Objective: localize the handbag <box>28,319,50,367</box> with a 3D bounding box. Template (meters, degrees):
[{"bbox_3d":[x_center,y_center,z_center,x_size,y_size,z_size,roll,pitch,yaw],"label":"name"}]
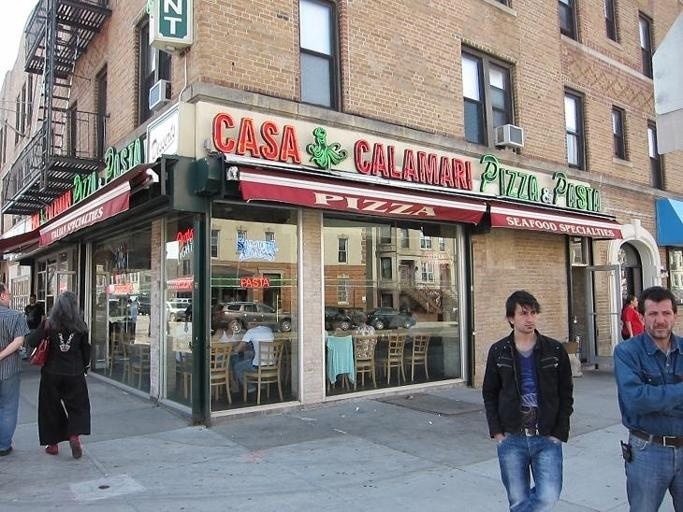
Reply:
[{"bbox_3d":[-4.238,1.236,8.724,0.234,0.662,0.442,1,3,14],"label":"handbag"}]

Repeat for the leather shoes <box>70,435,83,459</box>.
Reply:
[{"bbox_3d":[-3.734,2.672,8.787,0.139,0.345,0.169,-5,-8,4],"label":"leather shoes"}]

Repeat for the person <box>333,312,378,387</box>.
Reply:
[{"bbox_3d":[0.325,1.989,12.336,0.794,1.157,0.902,-7,-14,-8],"label":"person"}]

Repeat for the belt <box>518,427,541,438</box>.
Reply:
[{"bbox_3d":[1.857,1.742,6.190,0.115,0.076,0.155,1,-2,11],"label":"belt"}]

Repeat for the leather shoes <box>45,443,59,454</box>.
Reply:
[{"bbox_3d":[-4.110,2.727,8.866,0.205,0.190,0.117,-1,0,-2],"label":"leather shoes"}]

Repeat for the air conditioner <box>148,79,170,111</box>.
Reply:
[{"bbox_3d":[-3.303,-2.883,11.294,0.223,0.454,0.698,-2,4,-31],"label":"air conditioner"}]
